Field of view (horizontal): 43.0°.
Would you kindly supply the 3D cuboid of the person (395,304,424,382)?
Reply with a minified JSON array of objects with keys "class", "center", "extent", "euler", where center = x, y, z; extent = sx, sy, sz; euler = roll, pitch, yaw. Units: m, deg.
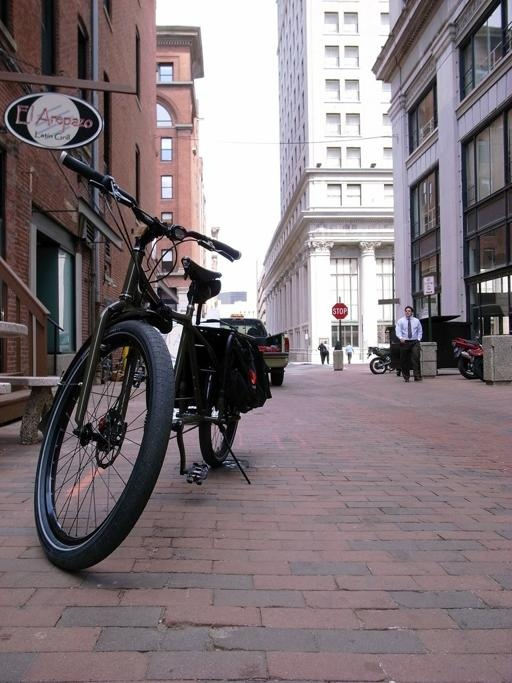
[{"class":"person","center":[3.750,0.158,15.984],"extent":[0.568,1.555,0.676],"euler":[0,-1,14]}]

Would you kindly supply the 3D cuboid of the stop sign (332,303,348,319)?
[{"class":"stop sign","center":[3.464,-1.230,27.035],"extent":[0.481,0.613,0.897],"euler":[0,-1,18]}]

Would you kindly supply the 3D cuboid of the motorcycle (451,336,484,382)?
[{"class":"motorcycle","center":[5.087,0.433,15.585],"extent":[0.609,0.957,1.052],"euler":[0,-1,17]}]

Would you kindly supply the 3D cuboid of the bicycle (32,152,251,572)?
[{"class":"bicycle","center":[-0.588,0.020,2.597],"extent":[0.608,1.580,1.051],"euler":[0,-1,1]}]

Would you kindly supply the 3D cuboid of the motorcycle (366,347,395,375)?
[{"class":"motorcycle","center":[4.205,0.590,20.973],"extent":[1.116,0.796,0.576],"euler":[-4,5,-7]}]
